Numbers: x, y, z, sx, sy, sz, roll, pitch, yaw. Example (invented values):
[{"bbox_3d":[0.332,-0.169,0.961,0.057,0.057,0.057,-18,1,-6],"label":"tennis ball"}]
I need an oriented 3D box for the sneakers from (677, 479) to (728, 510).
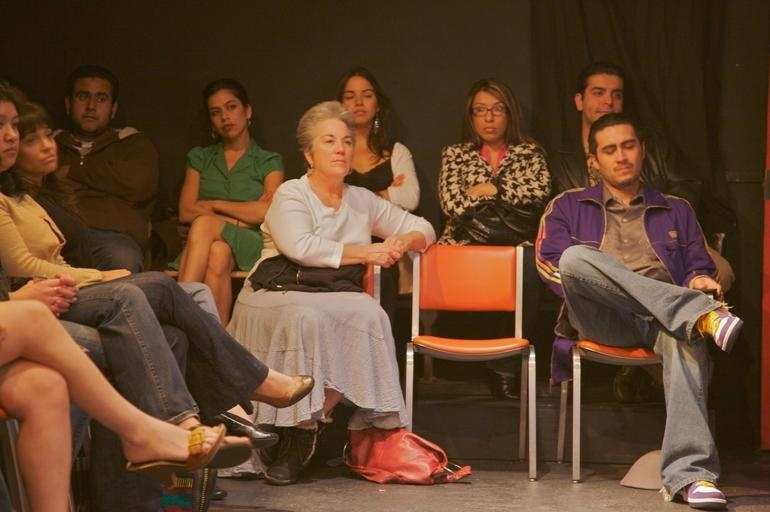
[{"bbox_3d":[1.481,1.107,3.675,0.216,0.125,0.167,-4,-4,21],"label":"sneakers"}]

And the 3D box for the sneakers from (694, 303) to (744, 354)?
[{"bbox_3d":[1.598,0.352,3.816,0.158,0.124,0.344,-1,6,11],"label":"sneakers"}]

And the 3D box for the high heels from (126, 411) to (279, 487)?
[{"bbox_3d":[-0.709,0.796,3.228,0.605,0.194,0.231,-18,17,4],"label":"high heels"}]

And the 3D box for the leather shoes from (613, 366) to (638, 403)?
[{"bbox_3d":[1.385,0.744,4.537,0.139,0.188,0.078,6,0,34],"label":"leather shoes"}]

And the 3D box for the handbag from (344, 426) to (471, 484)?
[{"bbox_3d":[0.069,1.056,4.091,0.446,0.148,0.329,6,-11,14],"label":"handbag"}]

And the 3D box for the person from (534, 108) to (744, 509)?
[{"bbox_3d":[1.264,0.193,4.100,0.945,2.025,0.829,-3,-4,12],"label":"person"}]

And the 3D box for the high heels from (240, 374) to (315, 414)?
[{"bbox_3d":[-0.525,0.599,3.589,0.352,0.139,0.118,-18,18,6],"label":"high heels"}]

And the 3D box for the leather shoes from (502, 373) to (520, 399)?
[{"bbox_3d":[0.738,0.783,4.702,0.126,0.162,0.173,2,-16,0],"label":"leather shoes"}]
